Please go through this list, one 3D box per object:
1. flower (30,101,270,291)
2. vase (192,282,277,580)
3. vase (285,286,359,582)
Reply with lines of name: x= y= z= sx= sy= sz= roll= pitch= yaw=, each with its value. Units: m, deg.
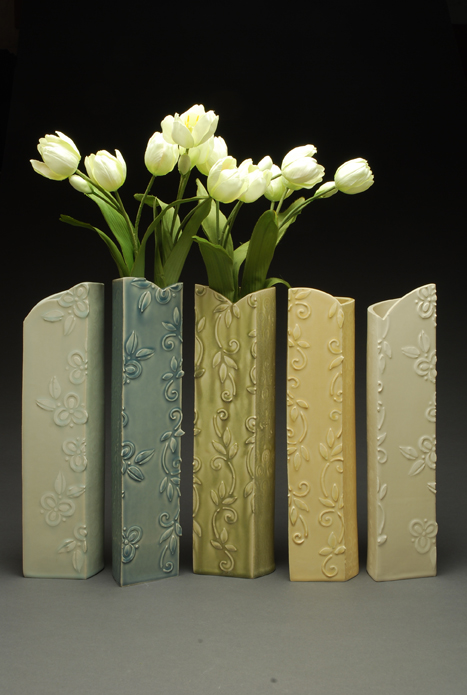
flower: x=-0.138 y=-0.293 z=1.581 sx=0.449 sy=0.530 sz=0.506 roll=-1 pitch=14 yaw=-6
vase: x=0.000 y=0.175 z=1.471 sx=0.168 sy=0.607 sz=0.071 roll=0 pitch=3 yaw=2
vase: x=0.189 y=0.179 z=1.471 sx=0.174 sy=0.598 sz=0.086 roll=-1 pitch=3 yaw=-17
